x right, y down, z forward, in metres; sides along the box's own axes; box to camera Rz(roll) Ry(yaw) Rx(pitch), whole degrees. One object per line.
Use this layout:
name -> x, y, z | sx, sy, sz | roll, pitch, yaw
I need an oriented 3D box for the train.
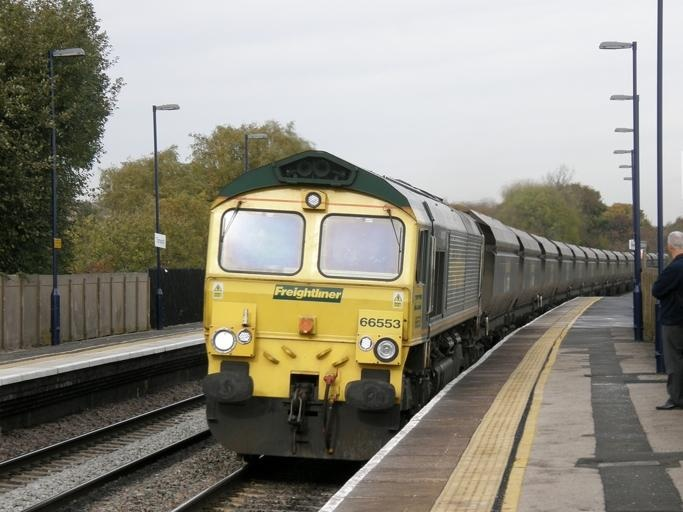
train -> 1.334, 0.558, 15.705 | 2.861, 4.623, 10.585 | -2, 2, 23
